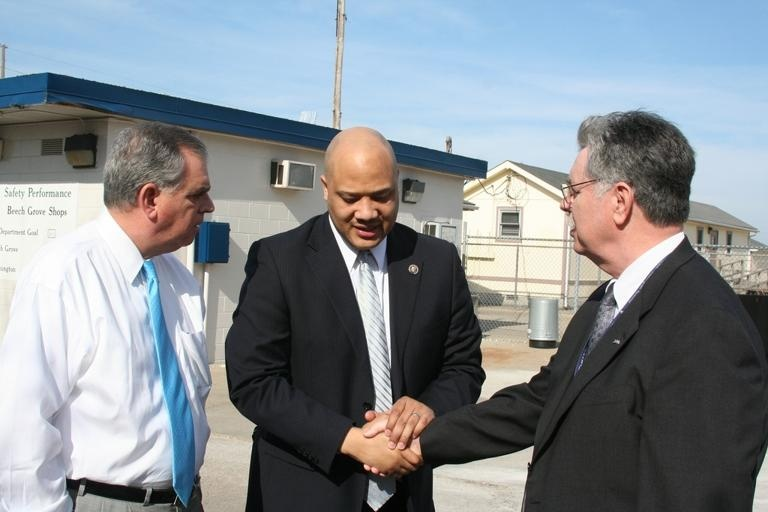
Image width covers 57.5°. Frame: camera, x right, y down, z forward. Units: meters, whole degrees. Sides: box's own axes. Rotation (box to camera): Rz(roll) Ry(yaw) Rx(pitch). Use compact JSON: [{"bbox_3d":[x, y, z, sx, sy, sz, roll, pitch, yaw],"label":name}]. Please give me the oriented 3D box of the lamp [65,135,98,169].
[{"bbox_3d":[-3.447,-1.199,7.986,0.352,0.398,0.214,1,1,26],"label":"lamp"}]
